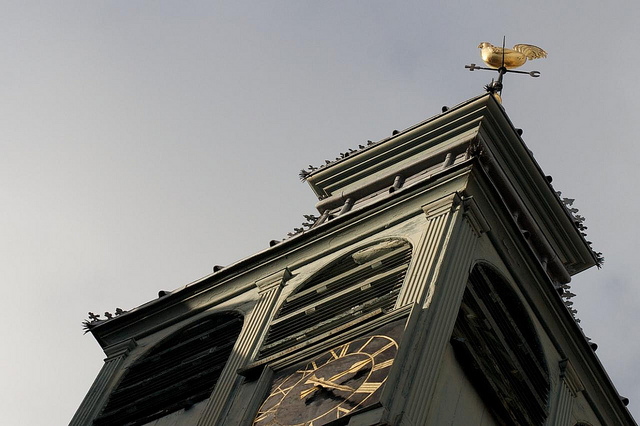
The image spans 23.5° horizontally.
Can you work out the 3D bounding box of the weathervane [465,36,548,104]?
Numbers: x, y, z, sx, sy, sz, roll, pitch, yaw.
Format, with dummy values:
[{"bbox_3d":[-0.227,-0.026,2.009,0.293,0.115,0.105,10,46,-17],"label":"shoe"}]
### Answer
[{"bbox_3d":[7.808,-6.332,66.842,3.339,3.145,2.865,8,-26,13],"label":"weathervane"}]
